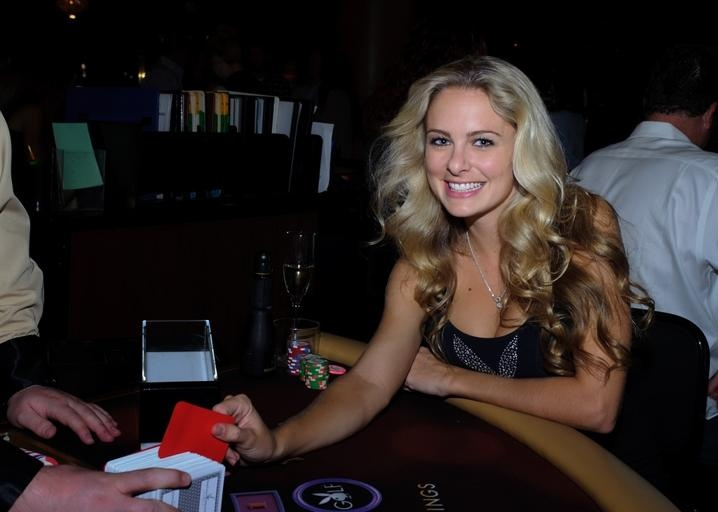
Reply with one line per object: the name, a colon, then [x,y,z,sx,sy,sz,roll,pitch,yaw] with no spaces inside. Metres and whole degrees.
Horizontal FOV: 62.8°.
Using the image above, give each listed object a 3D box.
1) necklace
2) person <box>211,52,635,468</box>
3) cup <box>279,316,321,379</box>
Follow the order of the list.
necklace: [0.495,0.050,2.337,0.101,0.360,0.035,-33,-25,31]
person: [0.188,0.035,2.064,1.685,1.365,0.875,-9,12,-28]
cup: [-0.208,0.339,2.176,0.176,0.207,0.181,3,8,0]
